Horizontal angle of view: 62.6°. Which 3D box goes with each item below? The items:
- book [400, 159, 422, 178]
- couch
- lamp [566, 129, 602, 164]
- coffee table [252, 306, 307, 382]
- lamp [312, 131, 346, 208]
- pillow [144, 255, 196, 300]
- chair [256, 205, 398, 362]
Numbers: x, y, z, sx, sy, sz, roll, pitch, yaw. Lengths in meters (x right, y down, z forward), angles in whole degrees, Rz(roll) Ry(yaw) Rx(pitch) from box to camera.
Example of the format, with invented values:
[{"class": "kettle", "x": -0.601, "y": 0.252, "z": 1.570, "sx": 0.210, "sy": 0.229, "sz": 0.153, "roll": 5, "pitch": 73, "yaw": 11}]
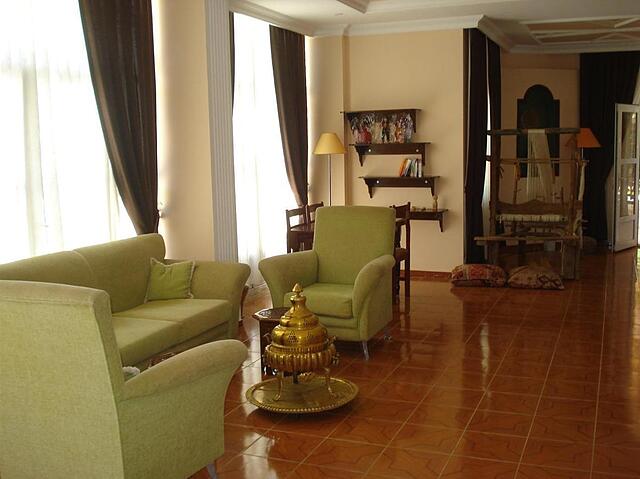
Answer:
[{"class": "book", "x": 1.364, "y": -0.986, "z": 7.817, "sx": 0.338, "sy": 0.337, "sz": 0.258, "roll": 1, "pitch": 0, "yaw": 21}, {"class": "couch", "x": -1.341, "y": 0.395, "z": 3.630, "sx": 0.527, "sy": 0.516, "sz": 1.142, "roll": 3, "pitch": 6, "yaw": 19}, {"class": "lamp", "x": 4.362, "y": -1.551, "z": 8.642, "sx": 0.346, "sy": 0.522, "sz": 2.840, "roll": 4, "pitch": 10, "yaw": 28}, {"class": "coffee table", "x": -0.402, "y": 0.856, "z": 4.309, "sx": 0.470, "sy": 0.646, "sz": 0.475, "roll": 1, "pitch": 2, "yaw": 31}, {"class": "lamp", "x": 0.150, "y": -1.022, "z": 7.798, "sx": 0.418, "sy": 1.110, "sz": 0.925, "roll": -1, "pitch": 9, "yaw": 2}, {"class": "pillow", "x": -1.335, "y": 0.361, "z": 4.636, "sx": 0.347, "sy": 0.340, "sz": 0.134, "roll": 4, "pitch": -17, "yaw": -16}, {"class": "chair", "x": 0.116, "y": 0.389, "z": 4.976, "sx": 1.137, "sy": 1.301, "sz": 0.926, "roll": 0, "pitch": 10, "yaw": 9}]
